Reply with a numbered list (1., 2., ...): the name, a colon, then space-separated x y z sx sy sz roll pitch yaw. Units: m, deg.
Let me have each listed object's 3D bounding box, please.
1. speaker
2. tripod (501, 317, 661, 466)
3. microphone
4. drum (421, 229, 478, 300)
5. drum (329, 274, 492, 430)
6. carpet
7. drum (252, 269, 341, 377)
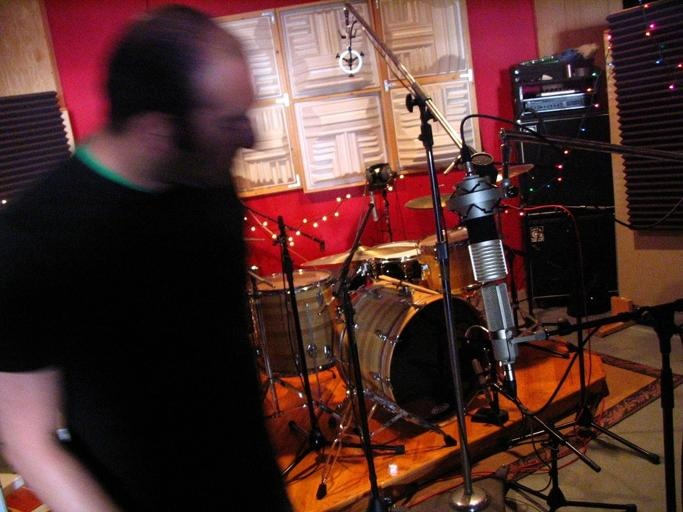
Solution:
1. speaker: 1.678 -0.236 4.520 0.758 1.619 1.478 -5 10 24
2. tripod: 1.339 0.638 3.089 0.755 0.604 0.684 -2 1 18
3. microphone: 0.490 0.050 2.034 0.178 0.648 0.248 -7 9 15
4. drum: 0.701 0.052 4.047 0.395 0.366 0.397 -9 2 29
5. drum: 0.437 0.552 3.352 0.767 0.706 0.625 1 3 -23
6. carpet: 1.232 0.899 3.372 0.946 0.232 0.925 -29 12 -34
7. drum: -0.265 0.497 4.036 0.512 0.509 0.510 0 -5 -25
